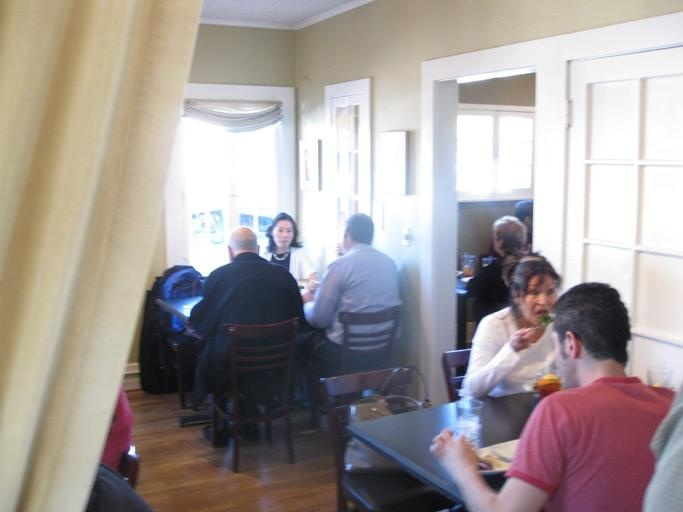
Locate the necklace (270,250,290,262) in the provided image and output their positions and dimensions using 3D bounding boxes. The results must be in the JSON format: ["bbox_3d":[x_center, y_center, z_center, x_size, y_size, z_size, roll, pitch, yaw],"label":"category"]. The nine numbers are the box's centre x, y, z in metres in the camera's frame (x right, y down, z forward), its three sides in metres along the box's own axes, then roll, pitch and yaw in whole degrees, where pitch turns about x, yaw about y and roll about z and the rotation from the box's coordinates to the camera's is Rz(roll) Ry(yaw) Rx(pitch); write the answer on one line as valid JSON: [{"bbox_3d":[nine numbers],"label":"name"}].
[{"bbox_3d":[-0.538,0.005,4.972,0.089,0.045,0.120,3,-17,-31],"label":"necklace"}]

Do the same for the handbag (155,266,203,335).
[{"bbox_3d":[-1.312,0.350,4.520,0.396,0.528,0.171,8,-6,-40],"label":"handbag"}]

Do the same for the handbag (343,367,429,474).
[{"bbox_3d":[0.181,0.642,2.190,0.339,0.313,0.253,1,-4,-11],"label":"handbag"}]
